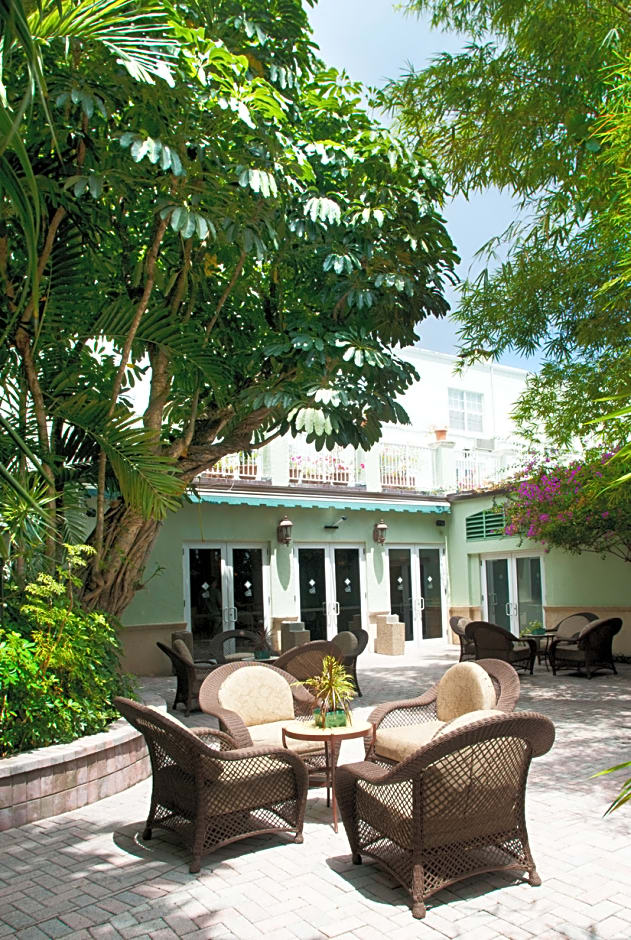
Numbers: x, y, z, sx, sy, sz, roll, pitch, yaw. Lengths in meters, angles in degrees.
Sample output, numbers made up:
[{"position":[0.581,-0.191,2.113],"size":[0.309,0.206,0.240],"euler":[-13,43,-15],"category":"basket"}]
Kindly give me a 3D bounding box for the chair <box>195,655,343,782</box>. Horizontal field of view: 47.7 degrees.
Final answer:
[{"position":[-0.355,1.557,4.737],"size":[0.826,0.742,0.806],"euler":[9,-15,-34],"category":"chair"}]

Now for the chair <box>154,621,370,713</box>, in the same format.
[{"position":[-0.645,1.998,7.311],"size":[2.122,0.755,0.747],"euler":[3,-7,-31],"category":"chair"}]

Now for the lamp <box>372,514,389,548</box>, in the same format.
[{"position":[1.337,1.233,14.551],"size":[0.298,0.492,0.554],"euler":[-2,-7,4],"category":"lamp"}]

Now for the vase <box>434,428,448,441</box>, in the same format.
[{"position":[2.855,-0.847,16.195],"size":[0.269,0.275,0.274],"euler":[-3,2,7],"category":"vase"}]

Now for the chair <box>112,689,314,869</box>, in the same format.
[{"position":[-0.567,1.554,3.888],"size":[0.948,0.875,0.774],"euler":[-2,0,-43],"category":"chair"}]

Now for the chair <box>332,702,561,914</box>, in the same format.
[{"position":[0.616,1.388,3.346],"size":[0.846,0.847,0.908],"euler":[-3,2,-26],"category":"chair"}]

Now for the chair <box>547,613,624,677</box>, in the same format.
[{"position":[3.924,2.526,10.205],"size":[0.972,0.886,0.984],"euler":[12,-23,-29],"category":"chair"}]
